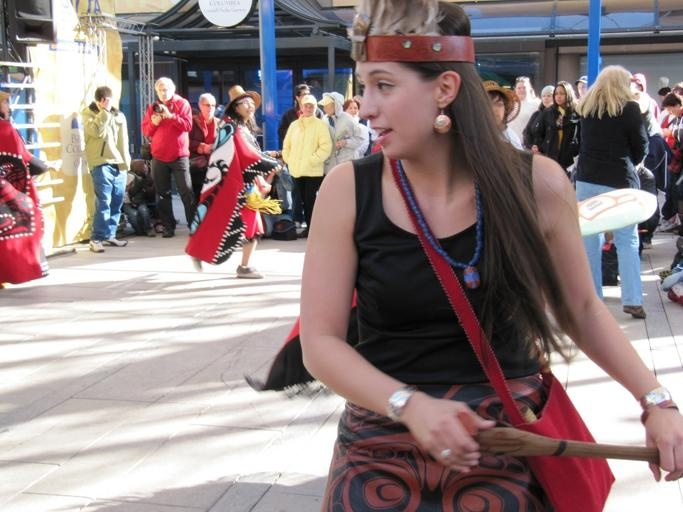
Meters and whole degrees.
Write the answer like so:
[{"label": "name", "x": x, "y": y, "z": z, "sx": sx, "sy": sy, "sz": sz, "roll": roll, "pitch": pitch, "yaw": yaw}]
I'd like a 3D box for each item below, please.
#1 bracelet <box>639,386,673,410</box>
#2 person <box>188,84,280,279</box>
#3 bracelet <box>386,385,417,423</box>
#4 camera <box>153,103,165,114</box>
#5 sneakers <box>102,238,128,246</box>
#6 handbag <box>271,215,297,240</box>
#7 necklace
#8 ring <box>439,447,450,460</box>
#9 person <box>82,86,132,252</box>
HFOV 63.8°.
[{"label": "bracelet", "x": 0.724, "y": 0.326, "z": 1.272, "sx": 0.049, "sy": 0.032, "sz": 0.055, "roll": -26, "pitch": -4, "yaw": -40}, {"label": "person", "x": -1.458, "y": -0.946, "z": 7.243, "sx": 1.224, "sy": 2.456, "sz": 0.704, "roll": -9, "pitch": 13, "yaw": -39}, {"label": "bracelet", "x": 0.115, "y": 0.300, "z": 1.122, "sx": 0.059, "sy": 0.063, "sz": 0.063, "roll": 38, "pitch": 2, "yaw": 22}, {"label": "camera", "x": -3.087, "y": -2.483, "z": 9.298, "sx": 0.181, "sy": 0.196, "sz": 0.213, "roll": -3, "pitch": 5, "yaw": 4}, {"label": "sneakers", "x": -3.994, "y": -0.240, "z": 9.552, "sx": 0.435, "sy": 0.184, "sz": 0.162, "roll": -3, "pitch": 16, "yaw": -8}, {"label": "handbag", "x": -1.061, "y": -0.498, "z": 10.041, "sx": 0.436, "sy": 0.463, "sz": 0.422, "roll": 1, "pitch": 2, "yaw": 27}, {"label": "necklace", "x": 0.227, "y": -0.073, "z": 1.309, "sx": 0.147, "sy": 0.278, "sz": 0.037, "roll": -14, "pitch": -12, "yaw": -34}, {"label": "ring", "x": 0.202, "y": 0.385, "z": 1.067, "sx": 0.015, "sy": 0.021, "sz": 0.006, "roll": 2, "pitch": 41, "yaw": -14}, {"label": "person", "x": -3.990, "y": -1.506, "z": 9.297, "sx": 0.645, "sy": 2.735, "sz": 0.952, "roll": 6, "pitch": 12, "yaw": 34}]
